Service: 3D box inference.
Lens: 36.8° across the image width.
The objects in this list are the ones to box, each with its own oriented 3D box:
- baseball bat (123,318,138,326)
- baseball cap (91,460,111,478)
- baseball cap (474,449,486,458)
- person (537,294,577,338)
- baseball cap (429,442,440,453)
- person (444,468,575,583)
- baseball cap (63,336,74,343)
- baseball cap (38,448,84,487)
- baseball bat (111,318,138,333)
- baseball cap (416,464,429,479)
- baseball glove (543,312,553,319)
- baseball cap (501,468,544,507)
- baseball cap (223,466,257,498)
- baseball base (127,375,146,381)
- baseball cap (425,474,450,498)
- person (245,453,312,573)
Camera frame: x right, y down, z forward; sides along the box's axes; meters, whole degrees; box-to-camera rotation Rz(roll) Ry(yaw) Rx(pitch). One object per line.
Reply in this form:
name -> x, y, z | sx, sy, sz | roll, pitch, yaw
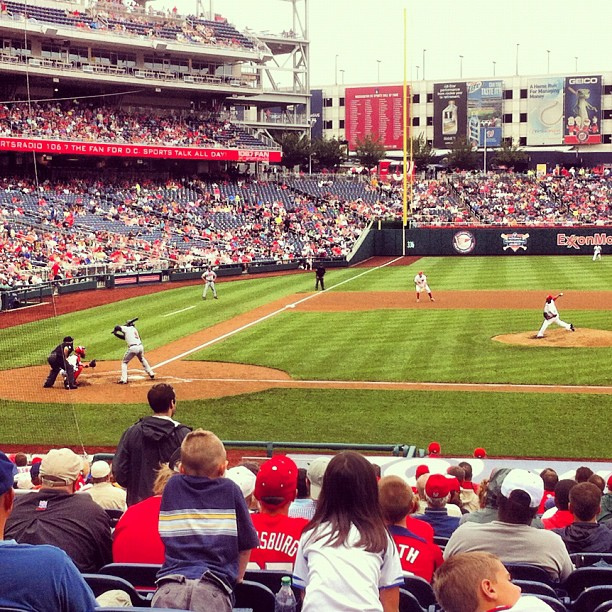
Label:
baseball bat -> -4.381, 0.381, 22.957 | 0.429, 0.116, 0.108 | -28, 43, 10
baseball cap -> -1.879, 1.484, 8.379 | 0.155, 0.164, 0.282 | -1, 8, -12
baseball cap -> 2.276, 1.920, 12.092 | 0.125, 0.123, 0.173 | 2, 8, 5
person -> 5.861, 0.163, 22.083 | 0.787, 0.879, 0.456 | -18, 32, -20
baseball cap -> 1.624, 1.780, 11.714 | 0.102, 0.102, 0.152 | 2, 34, 6
person -> 1.378, 1.469, 6.186 | 0.820, 0.679, 0.315 | 3, 8, 14
baseball cap -> -4.690, 0.663, 18.090 | 0.160, 0.139, 0.291 | -1, 8, -16
baseball cap -> -1.608, 1.002, 5.918 | 0.331, 0.183, 0.244 | 1, 44, -22
baseball bat -> -4.400, 0.465, 22.253 | 0.111, 0.663, 0.133 | 39, 22, -42
baseball cap -> 1.186, 1.697, 9.481 | 0.111, 0.100, 0.181 | 2, 11, 5
baseball glove -> 5.837, 0.215, 22.254 | 0.205, 0.136, 0.292 | 1, 6, 3
baseball cap -> 1.451, 1.215, 6.203 | 0.274, 0.213, 0.447 | 12, -6, 9
baseball cap -> -0.472, 1.300, 6.625 | 0.204, 0.250, 0.465 | 0, 8, -5
baseball base -> -3.620, 1.521, 19.592 | 0.352, 0.032, 0.671 | 0, 8, -10
baseball cap -> 1.015, 1.397, 7.135 | 0.174, 0.173, 0.211 | 1, 8, 4
person -> -0.183, 1.394, 6.040 | 0.380, 0.834, 0.395 | 0, 8, -4
